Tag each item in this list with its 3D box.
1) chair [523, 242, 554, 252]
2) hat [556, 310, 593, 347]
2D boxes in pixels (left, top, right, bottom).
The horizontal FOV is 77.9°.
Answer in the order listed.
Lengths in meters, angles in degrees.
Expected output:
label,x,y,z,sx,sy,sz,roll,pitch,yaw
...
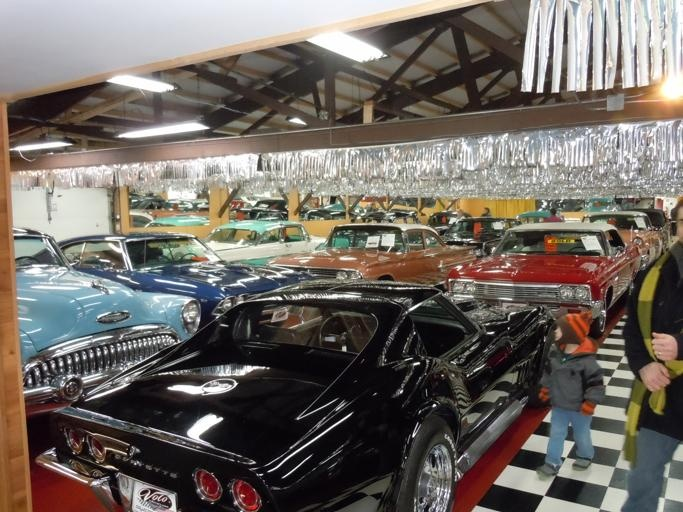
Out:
label,x,y,z,sx,sy,sz,roll,pitch,yaw
chair,3.349,-0.127,6.671,0.533,0.157,0.235,3,11,28
hat,1.814,0.528,3.149,0.320,0.251,0.225,-3,5,-3
